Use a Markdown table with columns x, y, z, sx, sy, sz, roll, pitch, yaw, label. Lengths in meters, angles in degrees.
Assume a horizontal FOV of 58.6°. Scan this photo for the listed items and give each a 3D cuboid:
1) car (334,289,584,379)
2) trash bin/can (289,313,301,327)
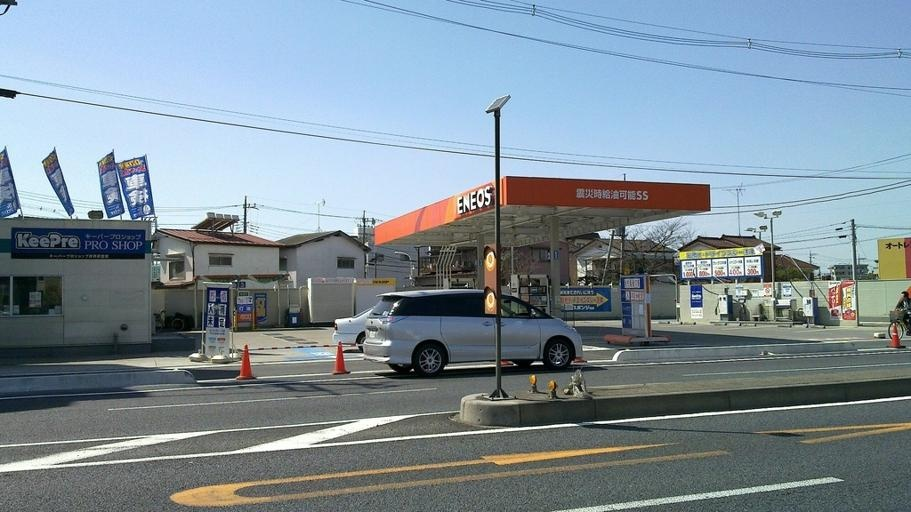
| x | y | z | sx | sy | sz | roll | pitch | yaw | label |
| --- | --- | --- | --- | --- | --- | --- | --- | --- | --- |
| 0.618 | 2.513 | 27.788 | 7.012 | 2.138 | 3.025 | -2 | -2 | -17 | car |
| -9.638 | 3.771 | 47.988 | 0.764 | 0.660 | 0.711 | 0 | -3 | -13 | trash bin/can |
